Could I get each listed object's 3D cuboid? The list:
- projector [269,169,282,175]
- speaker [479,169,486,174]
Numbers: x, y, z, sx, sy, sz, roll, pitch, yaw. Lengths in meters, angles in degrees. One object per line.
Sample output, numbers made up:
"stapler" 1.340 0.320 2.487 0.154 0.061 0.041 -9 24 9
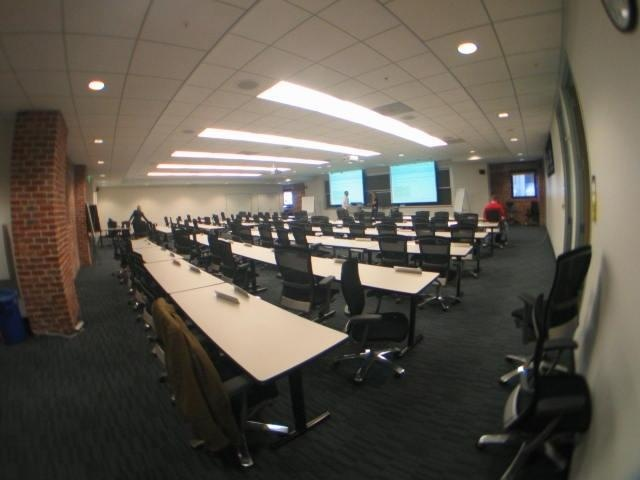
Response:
"projector" -1.388 -2.300 13.659 0.389 0.157 0.293 -4 7 -41
"speaker" 5.577 -2.379 14.287 0.065 0.165 0.187 1 -1 -41
